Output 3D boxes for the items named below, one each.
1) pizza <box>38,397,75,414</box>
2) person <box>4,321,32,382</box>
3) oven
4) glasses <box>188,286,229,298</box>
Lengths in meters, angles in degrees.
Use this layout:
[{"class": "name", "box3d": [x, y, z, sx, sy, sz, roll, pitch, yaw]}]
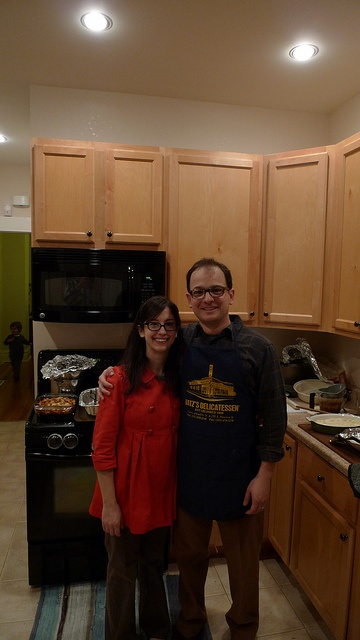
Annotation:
[{"class": "pizza", "box3d": [-0.605, 0.414, 2.013, 0.187, 0.048, 0.198, 0, 3, -11]}, {"class": "person", "box3d": [-2.349, 0.454, 6.012, 0.321, 0.837, 0.989, -1, 3, -21]}, {"class": "oven", "box3d": [-0.476, 0.850, 2.163, 0.587, 0.857, 0.587, -2, 6, -21]}, {"class": "glasses", "box3d": [0.095, -0.087, 1.379, 0.116, 0.039, 0.046, 1, 3, 13]}]
